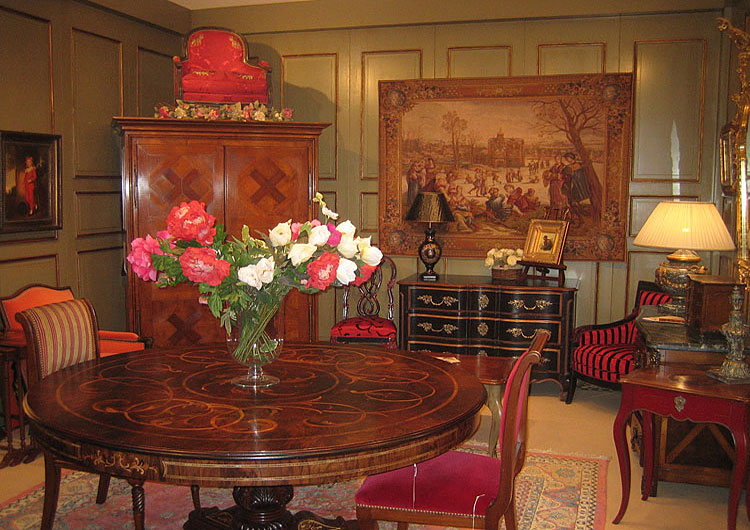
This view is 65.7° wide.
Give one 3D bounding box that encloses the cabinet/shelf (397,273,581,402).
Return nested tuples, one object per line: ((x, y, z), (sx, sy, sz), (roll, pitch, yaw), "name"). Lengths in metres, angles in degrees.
((1.215, 0.755, 6.195), (1.792, 1.041, 0.722), (1, 0, 29), "cabinet/shelf")

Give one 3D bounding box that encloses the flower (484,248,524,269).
((1.364, -0.053, 6.123), (0.274, 0.149, 0.266), (5, -6, -32), "flower")

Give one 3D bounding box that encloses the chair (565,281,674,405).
((2.202, 0.741, 5.722), (1.056, 1.345, 1.025), (6, -3, -27), "chair")

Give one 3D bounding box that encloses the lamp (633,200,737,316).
((2.433, -0.039, 4.607), (0.789, 0.852, 0.757), (0, 4, -13), "lamp")

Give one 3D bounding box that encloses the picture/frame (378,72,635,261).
((1.528, -1.098, 6.305), (2.418, 1.593, 0.078), (0, 2, 9), "picture/frame")

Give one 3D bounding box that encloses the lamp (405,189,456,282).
((0.564, -0.312, 6.298), (0.483, 0.936, 0.649), (4, 12, 6), "lamp")

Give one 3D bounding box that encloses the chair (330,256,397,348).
((-0.140, 0.521, 6.108), (0.718, 1.076, 0.740), (-2, 12, -2), "chair")

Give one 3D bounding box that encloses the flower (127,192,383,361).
((-0.676, 0.076, 3.153), (1.216, 0.795, 0.811), (3, 12, 3), "flower")

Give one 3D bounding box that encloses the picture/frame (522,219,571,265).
((1.786, -0.231, 6.064), (0.513, 0.543, 0.076), (5, -19, 34), "picture/frame")
